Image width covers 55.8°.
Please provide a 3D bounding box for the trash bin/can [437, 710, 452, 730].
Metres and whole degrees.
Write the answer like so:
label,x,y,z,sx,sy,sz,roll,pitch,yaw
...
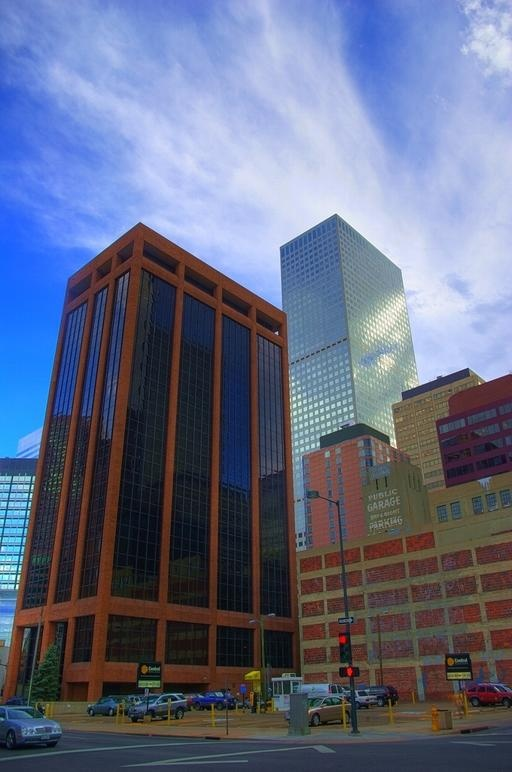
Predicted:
label,x,y,z,sx,sy,sz,roll,pitch,yaw
trash bin/can,7.550,13.330,19.320,0.491,0.527,0.808,-12,-26,19
